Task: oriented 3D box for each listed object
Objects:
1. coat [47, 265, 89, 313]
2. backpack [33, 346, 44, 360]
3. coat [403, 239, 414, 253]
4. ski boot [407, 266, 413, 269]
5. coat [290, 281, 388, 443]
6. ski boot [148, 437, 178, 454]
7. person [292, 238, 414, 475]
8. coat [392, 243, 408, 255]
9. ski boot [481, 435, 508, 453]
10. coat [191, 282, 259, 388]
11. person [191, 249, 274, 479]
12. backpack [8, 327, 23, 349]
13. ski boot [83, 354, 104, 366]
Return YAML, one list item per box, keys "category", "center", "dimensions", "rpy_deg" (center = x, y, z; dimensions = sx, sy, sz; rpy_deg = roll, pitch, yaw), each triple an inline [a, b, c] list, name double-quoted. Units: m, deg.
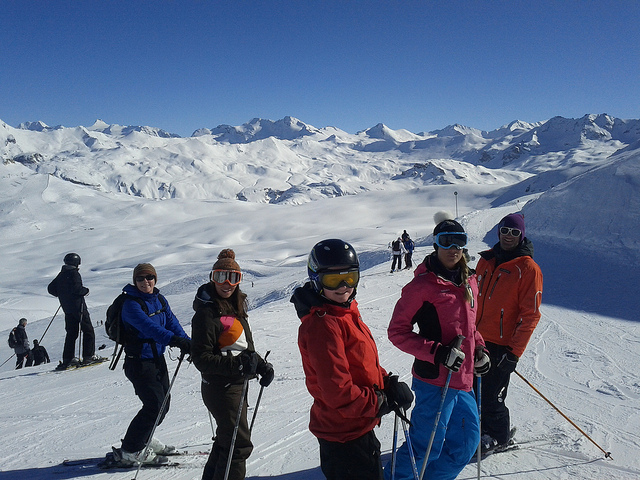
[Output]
- category: "coat"
  center: [-6.803, 1.312, 13.889]
  dimensions: [0.992, 1.289, 0.516]
  rpy_deg: [-1, 10, 21]
- category: "backpack"
  center: [-9.496, 3.854, 17.431]
  dimensions: [0.310, 0.446, 0.234]
  rpy_deg: [-11, 11, -39]
- category: "coat"
  center: [4.401, 0.312, 25.354]
  dimensions: [0.798, 0.615, 0.423]
  rpy_deg: [2, 10, 30]
- category: "ski boot"
  center: [4.615, 1.397, 25.891]
  dimensions: [0.144, 0.120, 0.107]
  rpy_deg: [9, 4, 42]
- category: "coat"
  center: [0.294, 1.630, 6.874]
  dimensions: [1.108, 2.104, 0.702]
  rpy_deg: [-5, 9, -4]
- category: "ski boot"
  center: [-2.649, 3.603, 9.017]
  dimensions: [0.645, 0.220, 0.187]
  rpy_deg: [0, 5, -13]
- category: "person"
  center: [0.368, 1.583, 6.895]
  dimensions: [1.261, 3.139, 0.746]
  rpy_deg: [-6, 9, -4]
- category: "coat"
  center: [3.934, 0.430, 24.916]
  dimensions: [0.552, 0.598, 0.679]
  rpy_deg: [-2, 3, -27]
- category: "ski boot"
  center: [2.883, 3.351, 8.493]
  dimensions: [0.476, 0.264, 0.099]
  rpy_deg: [-5, 9, -12]
- category: "coat"
  center: [-1.475, 1.491, 8.198]
  dimensions: [1.055, 1.433, 1.681]
  rpy_deg: [-3, -3, 11]
- category: "person"
  center: [-1.356, 1.961, 7.770]
  dimensions: [1.036, 3.280, 1.058]
  rpy_deg: [-1, 10, 24]
- category: "backpack"
  center: [-10.007, 3.233, 16.922]
  dimensions: [0.445, 0.698, 0.394]
  rpy_deg: [-9, 10, -28]
- category: "ski boot"
  center: [-6.215, 3.294, 14.188]
  dimensions: [0.428, 0.183, 0.601]
  rpy_deg: [-2, 7, 14]
